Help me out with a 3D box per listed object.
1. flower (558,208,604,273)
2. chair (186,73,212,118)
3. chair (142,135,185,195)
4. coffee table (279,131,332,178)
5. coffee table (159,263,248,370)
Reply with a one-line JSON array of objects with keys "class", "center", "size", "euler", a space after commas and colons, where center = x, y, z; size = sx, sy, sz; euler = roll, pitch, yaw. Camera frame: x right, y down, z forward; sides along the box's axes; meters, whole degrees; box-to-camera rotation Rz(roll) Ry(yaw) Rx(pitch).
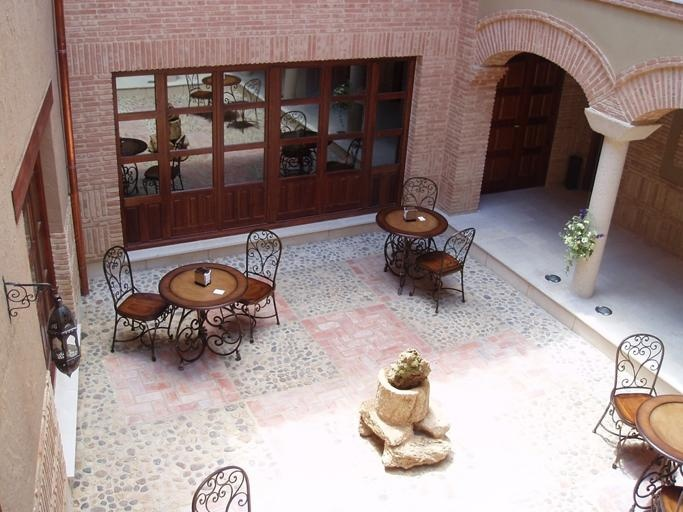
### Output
[{"class": "flower", "center": [4.154, -0.221, 8.352], "size": [0.600, 1.104, 0.455], "euler": [20, 33, 29]}, {"class": "chair", "center": [-2.609, -2.983, 8.739], "size": [0.415, 0.578, 0.338], "euler": [32, 47, 17]}, {"class": "chair", "center": [-3.344, -1.729, 8.919], "size": [0.686, 1.010, 0.504], "euler": [5, 58, -11]}, {"class": "coffee table", "center": [-0.803, -2.268, 10.197], "size": [1.146, 1.016, 0.905], "euler": [-7, 51, -13]}, {"class": "coffee table", "center": [-2.168, 0.986, 7.501], "size": [1.111, 1.019, 1.036], "euler": [-24, 54, -28]}]
